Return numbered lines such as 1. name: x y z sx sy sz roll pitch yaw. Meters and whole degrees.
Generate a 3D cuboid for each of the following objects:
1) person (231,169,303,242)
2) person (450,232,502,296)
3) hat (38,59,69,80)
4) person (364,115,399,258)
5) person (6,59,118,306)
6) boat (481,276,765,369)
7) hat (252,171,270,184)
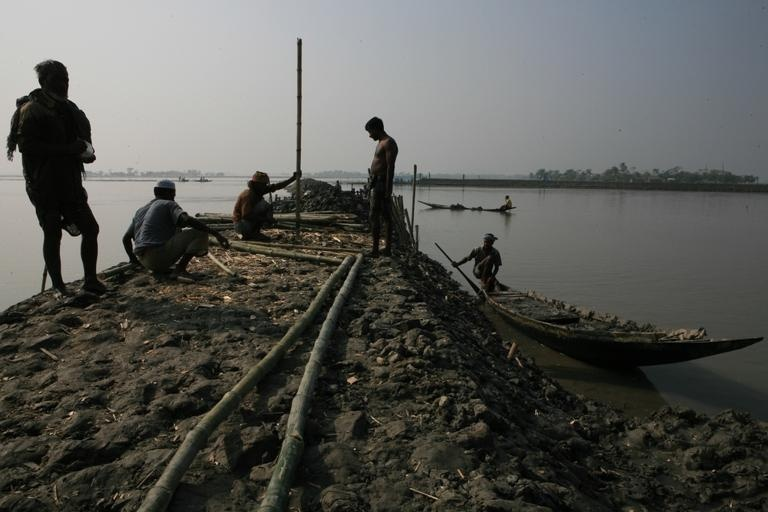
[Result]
1. person: -3.054 -1.206 13.115 1.029 1.557 0.742 -10 15 -31
2. person: 2.678 0.302 15.318 1.166 1.688 0.835 -7 -28 35
3. hat: -5.009 -2.811 8.290 0.364 0.272 0.251 -11 17 -34
4. person: -0.016 -1.306 11.174 0.552 2.917 1.234 -2 13 -1
5. person: -5.014 -1.105 8.504 1.070 3.682 0.595 -10 15 -33
6. boat: 5.708 1.622 13.114 1.462 1.019 6.712 3 2 -19
7. hat: -2.852 -1.817 12.924 0.415 0.290 0.168 -14 18 -40
